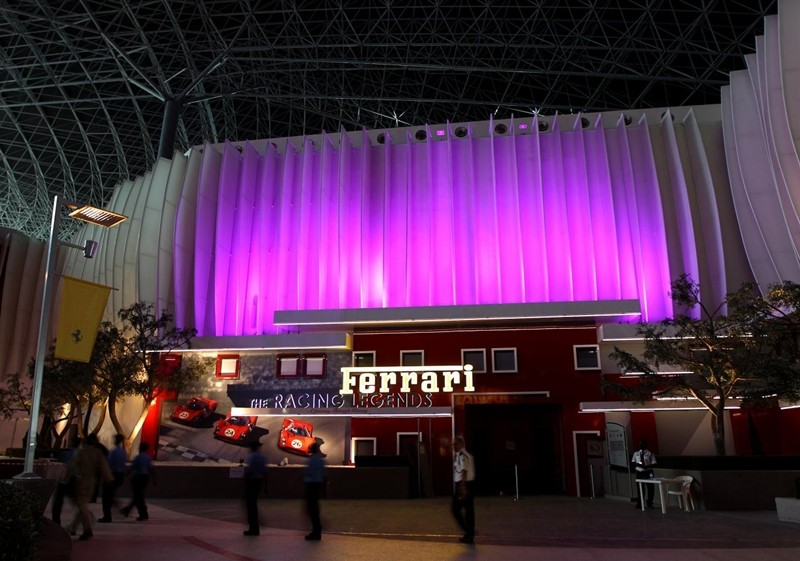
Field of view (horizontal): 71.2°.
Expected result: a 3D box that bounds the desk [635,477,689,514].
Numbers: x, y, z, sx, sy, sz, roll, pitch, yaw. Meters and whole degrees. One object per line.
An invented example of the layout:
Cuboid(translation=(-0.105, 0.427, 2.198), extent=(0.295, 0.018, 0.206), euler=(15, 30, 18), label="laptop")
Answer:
Cuboid(translation=(9.355, 7.462, 19.427), extent=(1.508, 1.087, 1.627), euler=(4, -20, -2), label="desk")

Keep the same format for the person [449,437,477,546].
Cuboid(translation=(1.632, 5.317, 14.135), extent=(0.659, 2.421, 0.599), euler=(-11, -16, 36), label="person")

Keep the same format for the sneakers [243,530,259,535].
Cuboid(translation=(-3.950, 6.662, 14.714), extent=(0.481, 0.117, 0.188), euler=(-4, -13, 10), label="sneakers")
